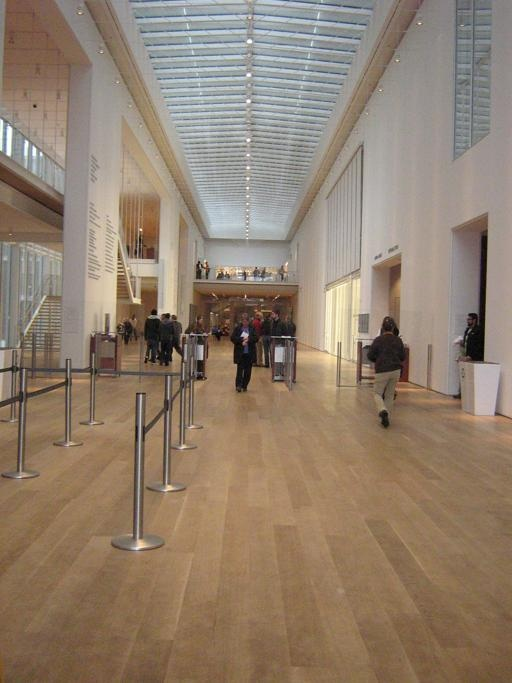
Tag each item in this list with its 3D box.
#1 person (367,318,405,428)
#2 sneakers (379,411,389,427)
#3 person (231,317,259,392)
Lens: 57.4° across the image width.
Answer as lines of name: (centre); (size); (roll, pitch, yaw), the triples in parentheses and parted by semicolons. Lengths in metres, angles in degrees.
person: (2.135, 0.458, 7.721); (0.567, 1.815, 0.953); (0, -3, 19)
sneakers: (2.018, 1.202, 7.341); (0.118, 0.338, 0.135); (-2, -2, -11)
person: (-0.282, 0.330, 11.427); (0.569, 1.777, 1.667); (1, -3, 0)
